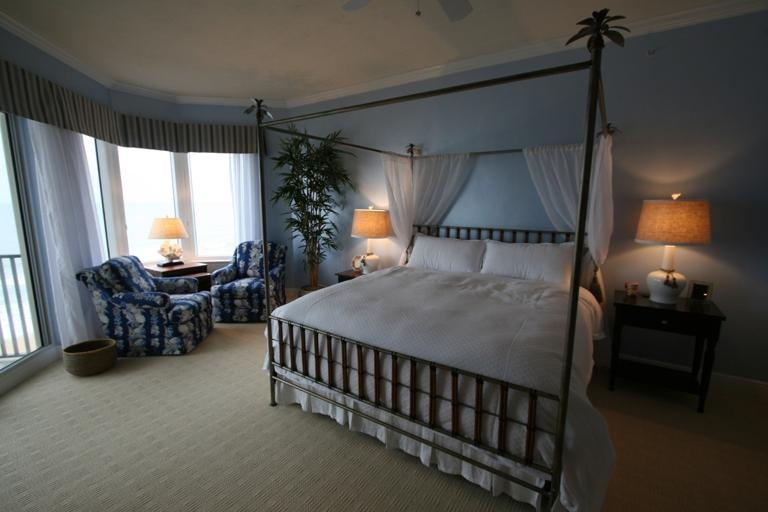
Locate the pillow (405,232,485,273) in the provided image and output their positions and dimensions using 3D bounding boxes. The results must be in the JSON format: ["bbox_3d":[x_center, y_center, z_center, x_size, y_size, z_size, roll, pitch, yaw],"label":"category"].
[{"bbox_3d":[0.686,-0.014,5.464,0.712,0.402,0.192,5,-14,35],"label":"pillow"}]

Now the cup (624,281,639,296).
[{"bbox_3d":[2.454,0.325,4.871,0.124,0.157,0.170,0,-2,28],"label":"cup"}]

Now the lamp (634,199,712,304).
[{"bbox_3d":[2.714,-0.070,4.631,0.559,1.026,0.355,-1,7,0],"label":"lamp"}]

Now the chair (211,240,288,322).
[{"bbox_3d":[-1.759,0.323,6.502,0.801,1.030,0.947,1,5,1],"label":"chair"}]

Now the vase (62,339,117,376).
[{"bbox_3d":[-3.063,1.072,5.058,0.435,0.284,0.463,3,8,18],"label":"vase"}]

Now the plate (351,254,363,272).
[{"bbox_3d":[-0.333,0.093,6.320,0.123,0.204,0.208,2,1,1],"label":"plate"}]

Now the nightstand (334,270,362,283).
[{"bbox_3d":[-0.436,0.240,6.204,0.206,0.201,0.211,-13,18,-37],"label":"nightstand"}]

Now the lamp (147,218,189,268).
[{"bbox_3d":[-2.704,-0.195,6.463,0.617,0.812,0.608,-4,8,-32],"label":"lamp"}]

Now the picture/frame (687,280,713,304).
[{"bbox_3d":[3.011,0.350,4.648,0.186,0.245,0.034,10,-8,43],"label":"picture/frame"}]

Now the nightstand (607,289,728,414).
[{"bbox_3d":[2.737,0.913,4.645,0.969,0.952,0.620,7,12,36],"label":"nightstand"}]

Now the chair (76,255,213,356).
[{"bbox_3d":[-2.596,0.501,5.657,1.254,1.060,0.945,1,14,-5],"label":"chair"}]

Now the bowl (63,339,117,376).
[{"bbox_3d":[-3.063,1.067,5.060,0.437,0.281,0.468,1,9,0],"label":"bowl"}]
